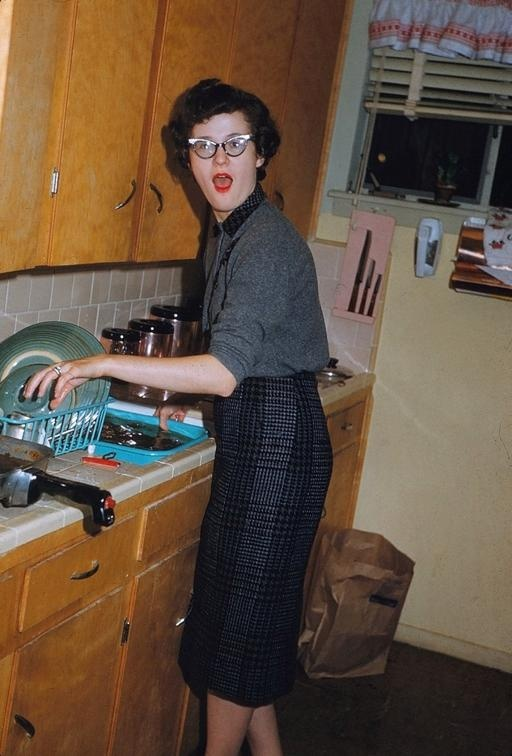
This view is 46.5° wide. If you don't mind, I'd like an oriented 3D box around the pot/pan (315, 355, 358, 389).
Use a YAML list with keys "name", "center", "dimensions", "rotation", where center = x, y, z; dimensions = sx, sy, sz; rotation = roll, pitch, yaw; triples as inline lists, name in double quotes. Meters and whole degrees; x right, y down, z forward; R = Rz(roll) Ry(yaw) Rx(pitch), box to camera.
- name: "pot/pan"
  center: [0.310, -0.025, 2.320]
  dimensions: [0.125, 0.049, 0.166]
  rotation: [4, 8, 3]

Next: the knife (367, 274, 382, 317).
- name: "knife"
  center: [0.482, -0.323, 2.401]
  dimensions: [0.042, 0.171, 0.008]
  rotation: [16, 9, 18]

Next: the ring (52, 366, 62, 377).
- name: "ring"
  center: [-0.309, -0.009, 0.929]
  dimensions: [0.017, 0.016, 0.011]
  rotation: [1, 31, 30]

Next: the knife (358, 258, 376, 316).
- name: "knife"
  center: [0.453, -0.358, 2.413]
  dimensions: [0.042, 0.239, 0.021]
  rotation: [17, 7, 23]
